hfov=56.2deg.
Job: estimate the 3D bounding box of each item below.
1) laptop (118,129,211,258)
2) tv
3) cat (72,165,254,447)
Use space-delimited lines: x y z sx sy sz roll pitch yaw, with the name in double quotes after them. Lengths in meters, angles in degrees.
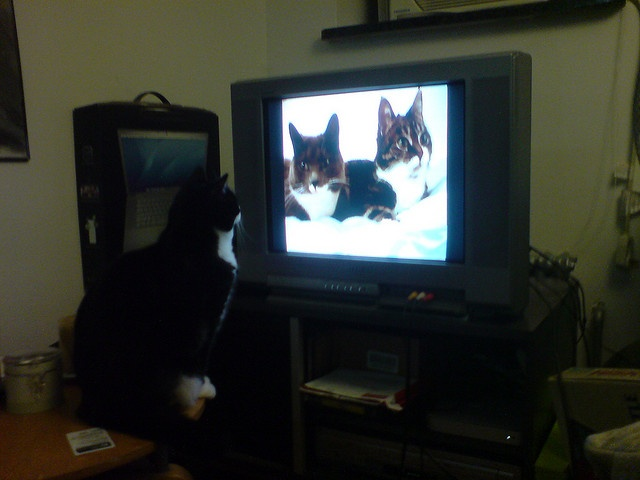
-0.461 -0.130 1.709 0.261 0.294 0.209 2 -33 -29 "laptop"
0.193 -0.160 2.088 1.183 1.024 0.626 2 5 22 "tv"
-0.543 0.103 1.913 0.609 0.914 0.530 -5 16 -39 "cat"
